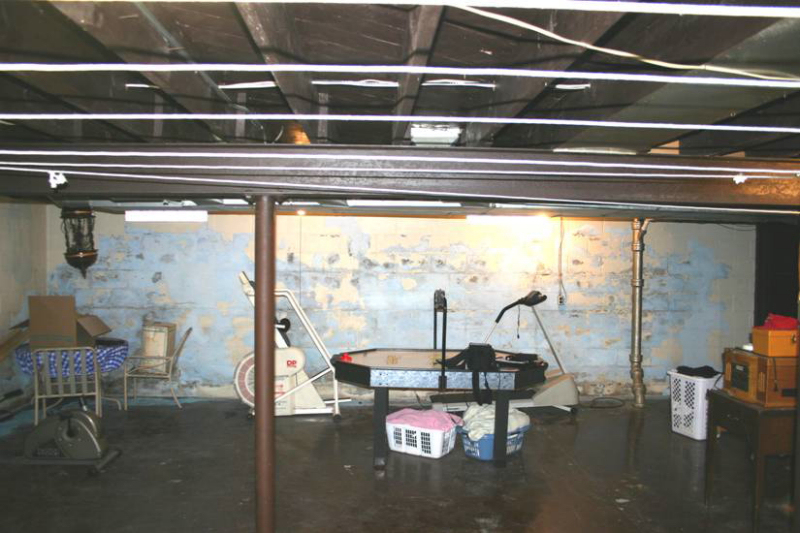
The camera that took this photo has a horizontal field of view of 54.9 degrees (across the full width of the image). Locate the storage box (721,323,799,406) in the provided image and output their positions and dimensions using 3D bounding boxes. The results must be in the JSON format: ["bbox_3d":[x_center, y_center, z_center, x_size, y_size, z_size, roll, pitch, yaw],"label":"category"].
[{"bbox_3d":[3.724,1.028,7.965,0.724,0.991,1.118,2,-2,3],"label":"storage box"}]

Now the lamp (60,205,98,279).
[{"bbox_3d":[-4.149,-0.294,9.934,0.412,0.854,1.364,-1,1,-22],"label":"lamp"}]

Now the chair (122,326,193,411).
[{"bbox_3d":[-3.331,1.364,10.411,0.939,1.047,0.862,0,1,-7],"label":"chair"}]

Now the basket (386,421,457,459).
[{"bbox_3d":[0.230,2.017,9.043,0.650,0.240,0.428,1,-7,25],"label":"basket"}]

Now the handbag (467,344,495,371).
[{"bbox_3d":[0.915,1.015,8.597,0.334,0.288,0.213,0,1,3],"label":"handbag"}]

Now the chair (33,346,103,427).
[{"bbox_3d":[-4.217,1.505,9.744,0.803,1.082,0.775,-3,8,-30],"label":"chair"}]

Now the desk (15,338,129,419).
[{"bbox_3d":[-4.161,1.203,9.921,1.107,0.341,1.002,-2,4,-15],"label":"desk"}]
